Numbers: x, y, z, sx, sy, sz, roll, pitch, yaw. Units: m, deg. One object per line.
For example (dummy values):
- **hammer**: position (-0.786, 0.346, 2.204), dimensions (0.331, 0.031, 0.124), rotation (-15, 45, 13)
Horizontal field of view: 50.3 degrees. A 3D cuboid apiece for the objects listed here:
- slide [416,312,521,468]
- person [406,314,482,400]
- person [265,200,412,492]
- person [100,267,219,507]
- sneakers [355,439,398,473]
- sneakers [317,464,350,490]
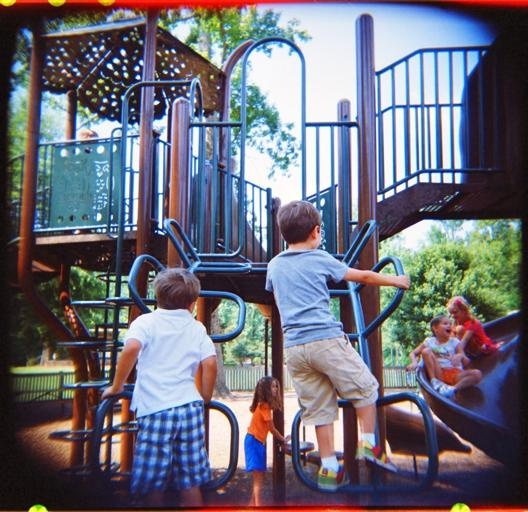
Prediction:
- **slide**: position (1.803, 1.216, 4.926), dimensions (0.785, 0.917, 0.981), rotation (0, -1, 26)
- **person**: position (1.669, 0.998, 5.431), dimensions (0.631, 1.074, 0.635), rotation (2, -25, 2)
- **person**: position (0.310, 0.381, 2.776), dimensions (0.426, 1.365, 0.720), rotation (0, 0, -42)
- **person**: position (-0.479, 0.604, 2.672), dimensions (0.502, 1.088, 0.298), rotation (0, 0, -19)
- **sneakers**: position (0.500, 0.893, 2.557), dimensions (0.260, 0.132, 0.084), rotation (37, -29, -26)
- **sneakers**: position (0.316, 1.031, 2.609), dimensions (0.059, 0.095, 0.189), rotation (-3, -13, 23)
